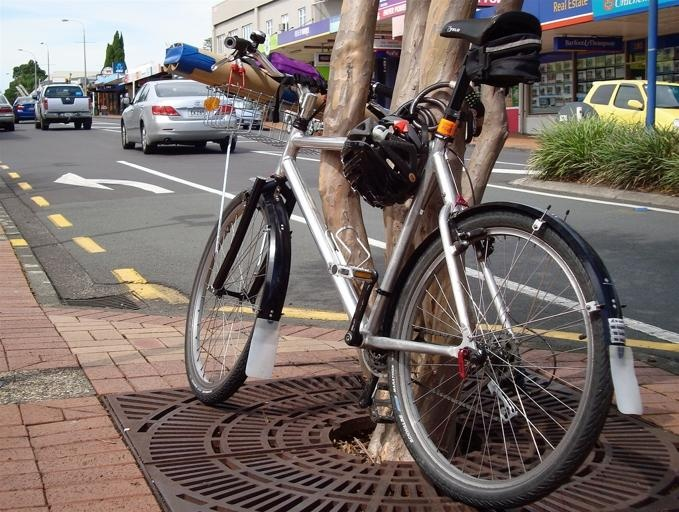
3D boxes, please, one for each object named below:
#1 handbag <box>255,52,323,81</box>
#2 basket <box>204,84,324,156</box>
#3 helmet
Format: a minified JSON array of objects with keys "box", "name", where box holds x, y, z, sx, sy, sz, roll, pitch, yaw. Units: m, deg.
[{"box":[-0.246,-0.984,2.661,0.255,0.070,0.157,10,18,-23],"name":"handbag"},{"box":[-0.430,-0.734,2.720,0.594,0.184,0.350,20,-6,-12],"name":"basket"},{"box":[0.179,-0.362,2.127,0.335,0.318,0.380,-4,-11,17],"name":"helmet"}]
